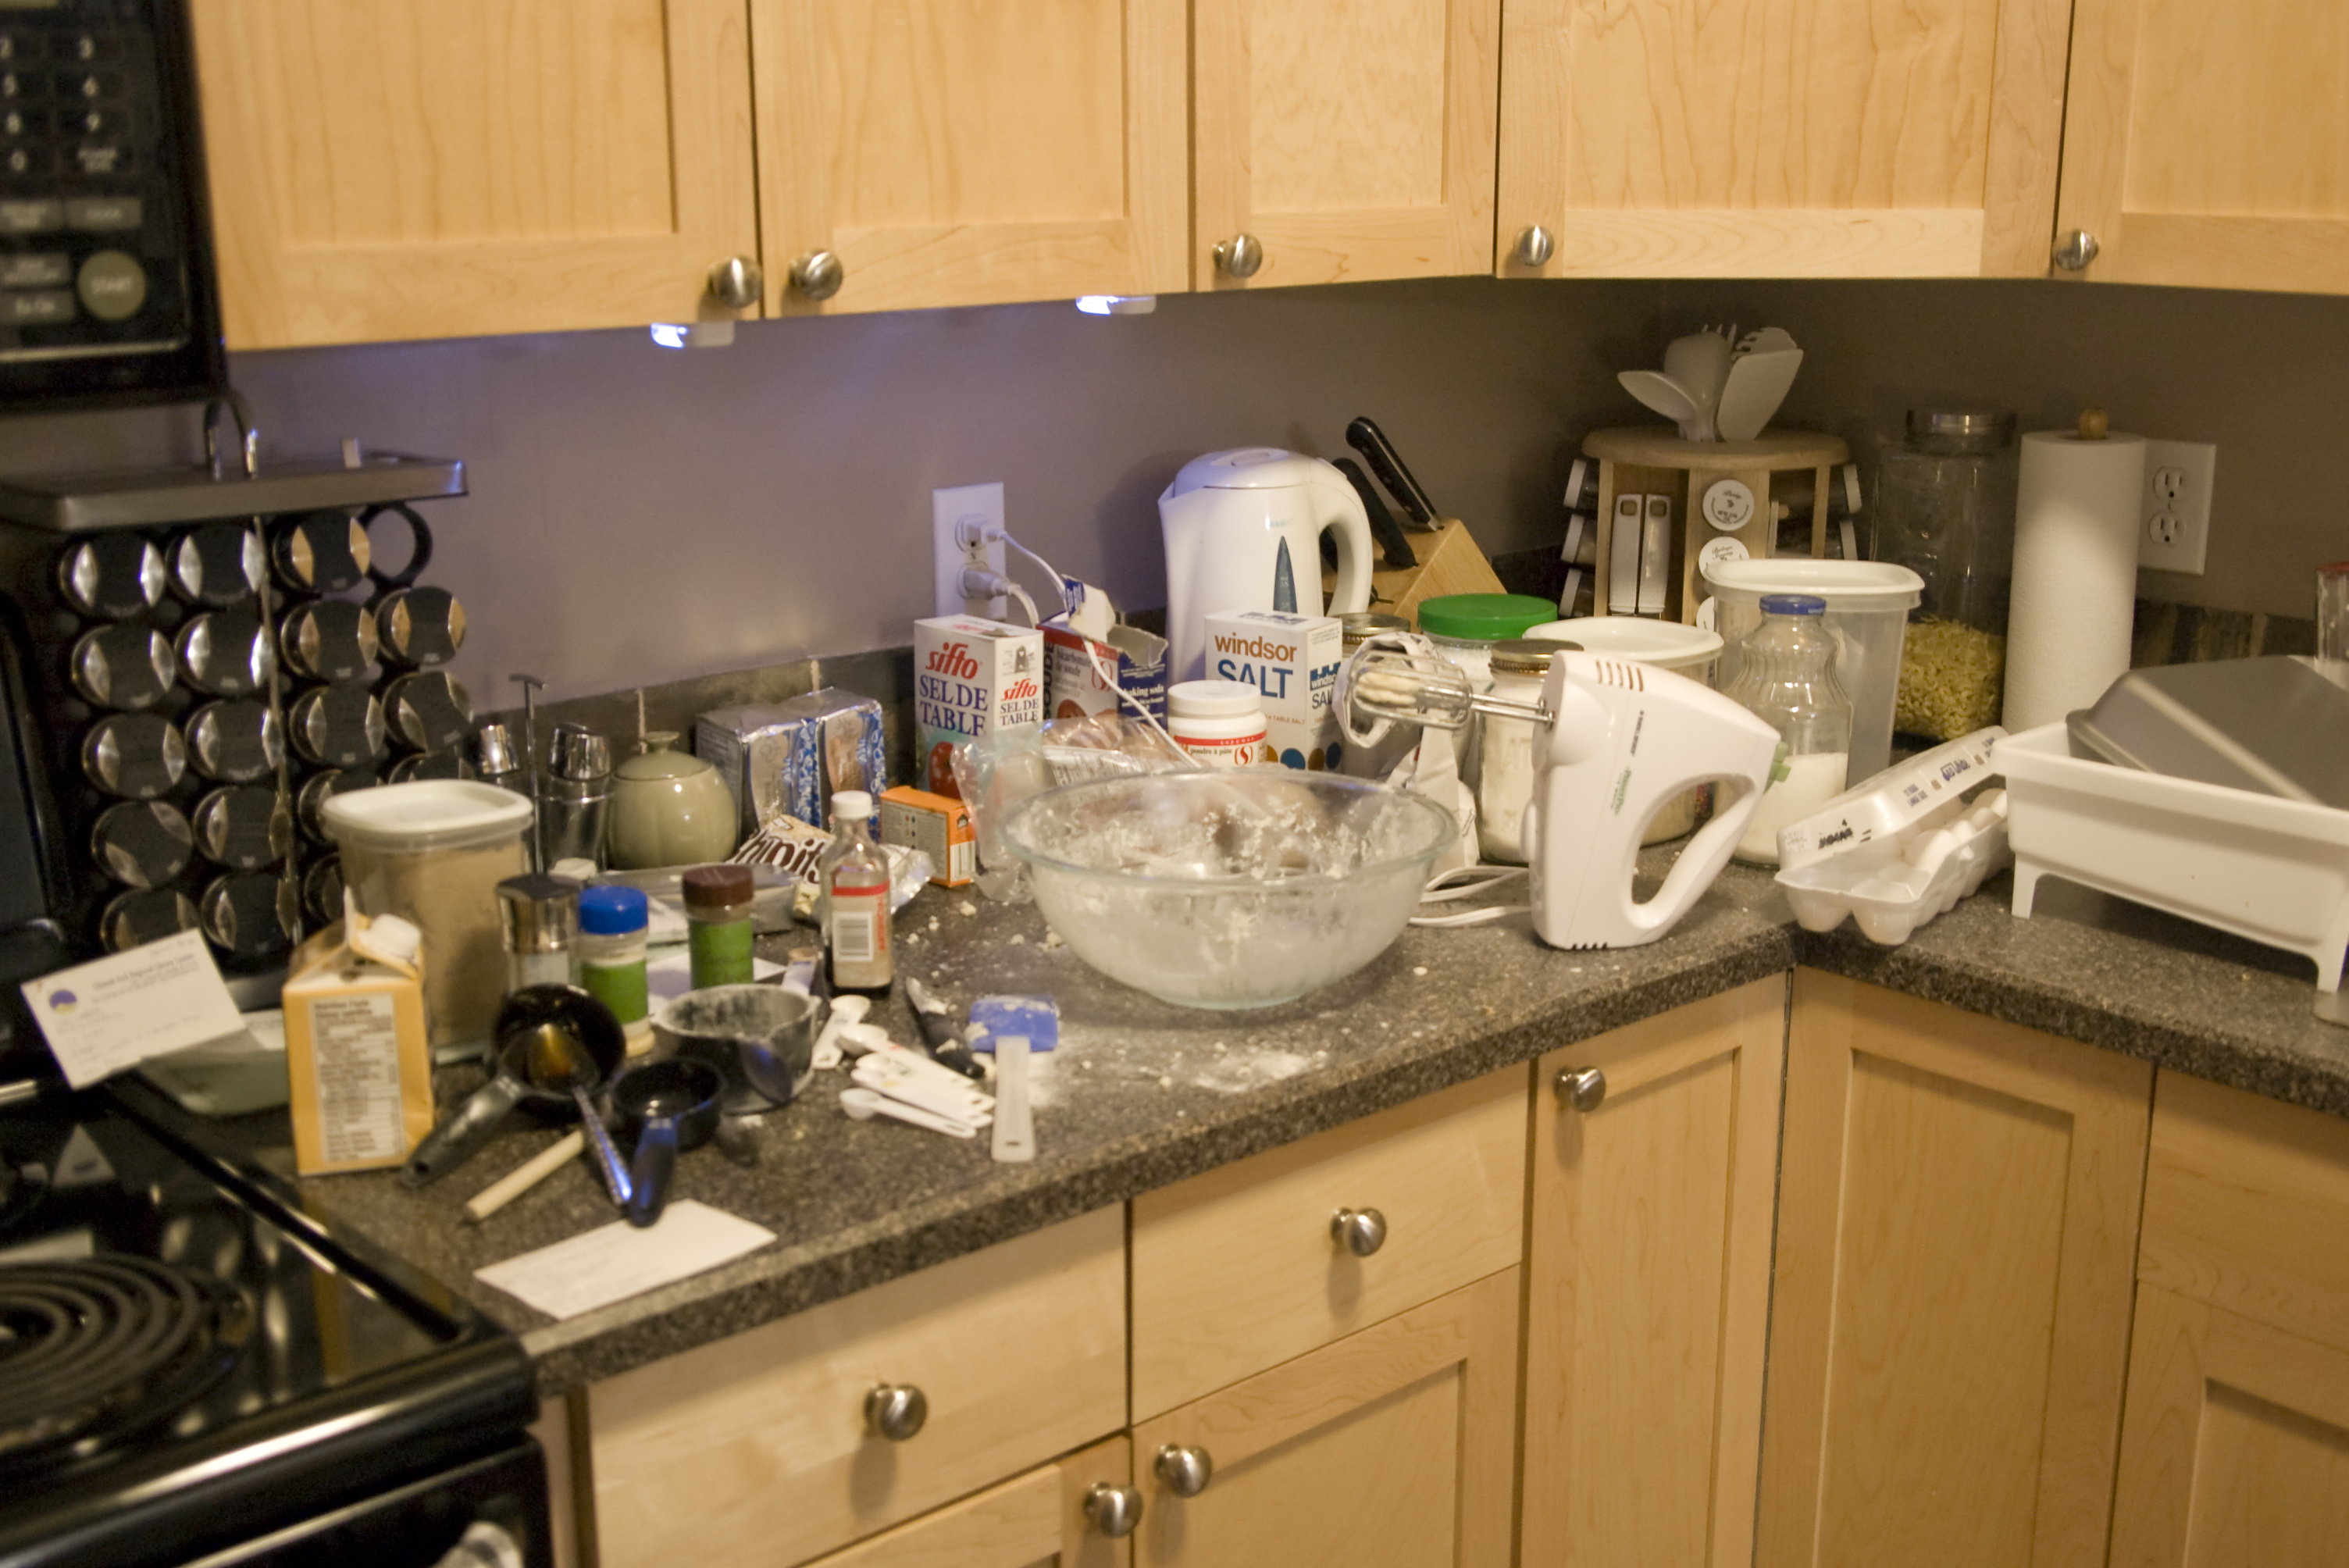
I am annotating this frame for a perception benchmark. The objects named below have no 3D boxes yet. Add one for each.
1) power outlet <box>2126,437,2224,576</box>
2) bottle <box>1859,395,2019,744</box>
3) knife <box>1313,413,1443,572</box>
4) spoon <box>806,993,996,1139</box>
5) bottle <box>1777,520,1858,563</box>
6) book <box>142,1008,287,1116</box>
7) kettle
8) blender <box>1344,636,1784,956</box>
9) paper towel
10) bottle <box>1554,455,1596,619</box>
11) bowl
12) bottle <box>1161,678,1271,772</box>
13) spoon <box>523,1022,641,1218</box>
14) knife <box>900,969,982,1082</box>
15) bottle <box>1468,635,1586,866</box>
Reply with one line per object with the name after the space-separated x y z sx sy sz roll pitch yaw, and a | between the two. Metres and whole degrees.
1.297 -0.357 2.468 0.096 0.161 0.018 1 9 2 | power outlet
1.021 -0.276 2.515 0.173 0.424 0.209 3 17 21 | bottle
0.307 -0.358 2.558 0.112 0.310 0.090 -31 47 11 | knife
-0.261 0.250 1.737 0.075 0.022 0.200 -11 22 -30 | spoon
0.890 -0.334 2.604 0.103 0.055 0.223 3 17 20 | bottle
-0.847 0.256 1.678 0.116 0.041 0.084 -15 28 -30 | book
0.117 -0.263 2.400 0.277 0.281 0.206 -5 10 -14 | kettle
0.411 0.016 2.024 0.459 0.326 0.126 3 19 -5 | blender
1.138 -0.257 2.385 0.145 0.364 0.146 1 17 16 | paper towel
0.578 -0.353 2.716 0.074 0.230 0.232 2 20 8 | bottle
0.060 0.109 1.948 0.447 0.188 0.345 -4 16 -2 | bowl
0.048 -0.066 2.168 0.099 0.092 0.098 2 11 4 | bottle
-0.522 0.267 1.668 0.072 0.074 0.235 -15 57 -25 | spoon
-0.225 0.227 1.811 0.042 0.035 0.156 -10 25 -18 | knife
0.449 -0.030 2.184 0.153 0.246 0.144 3 14 -1 | bottle
